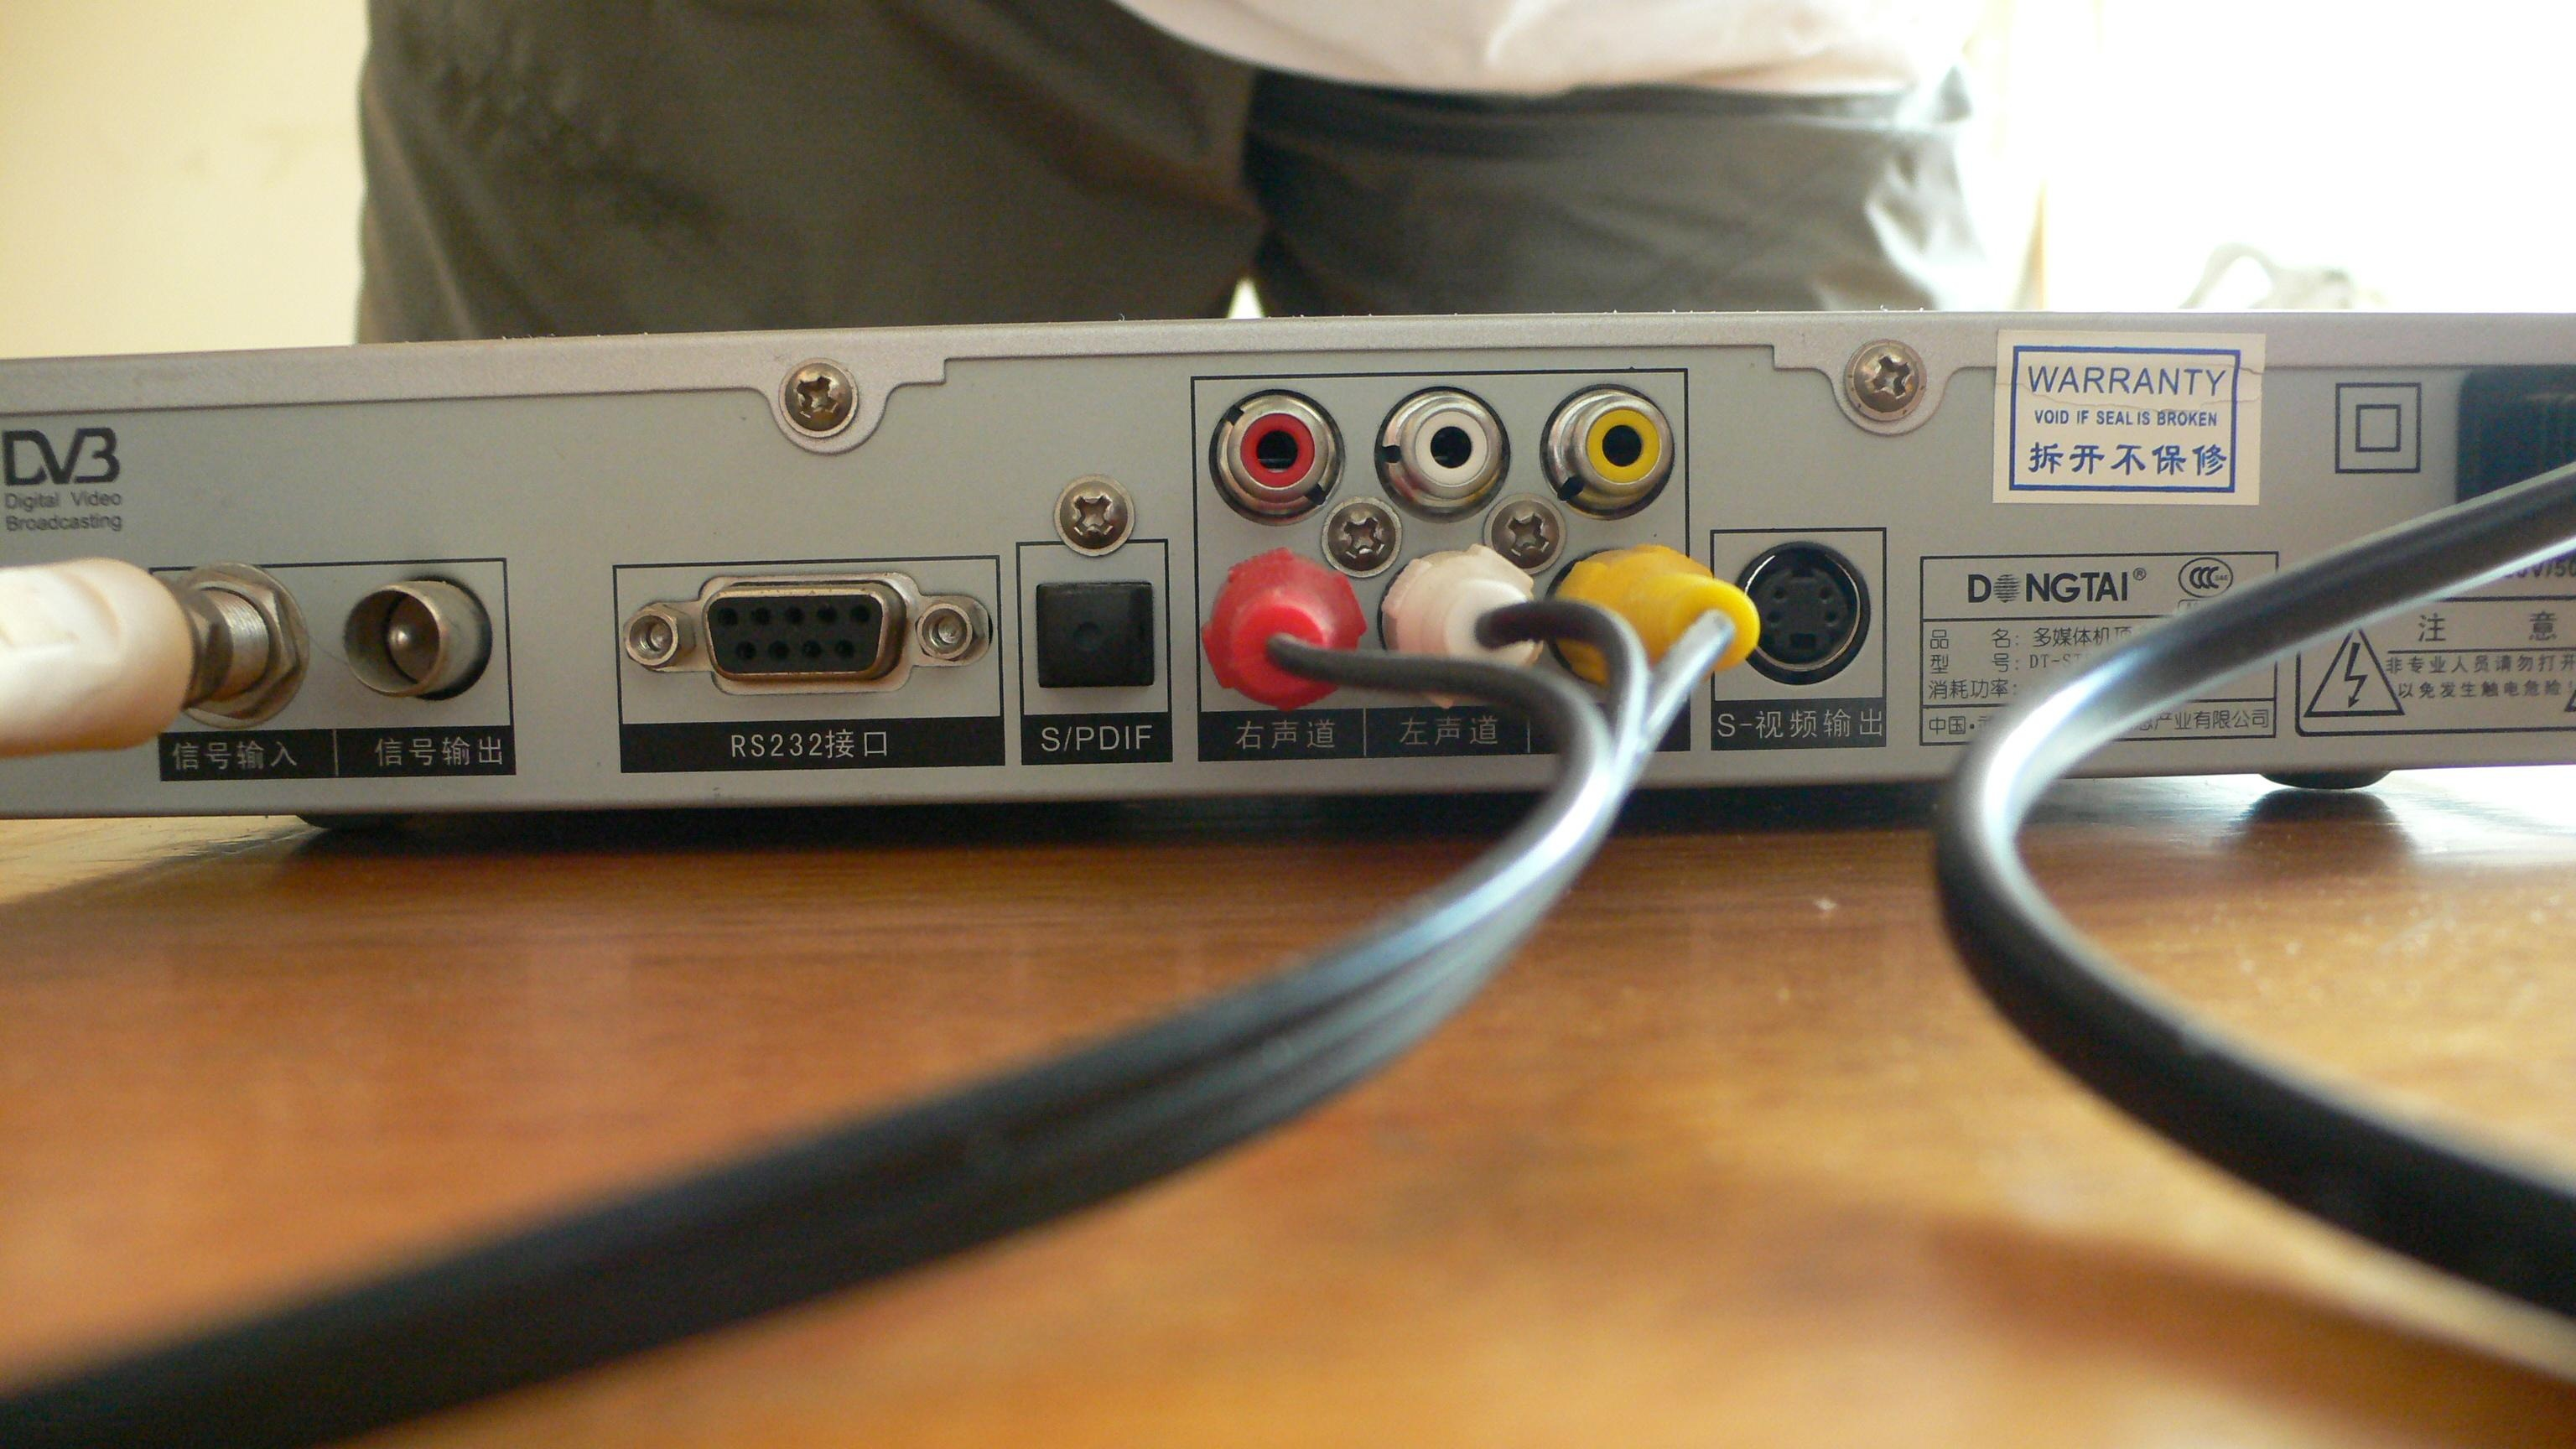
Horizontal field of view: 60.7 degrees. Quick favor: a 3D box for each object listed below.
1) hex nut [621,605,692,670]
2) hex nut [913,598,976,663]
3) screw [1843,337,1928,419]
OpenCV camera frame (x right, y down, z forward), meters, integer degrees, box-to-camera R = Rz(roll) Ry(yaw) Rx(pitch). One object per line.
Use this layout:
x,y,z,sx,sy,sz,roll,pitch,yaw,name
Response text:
-0.352,-0.050,1.222,0.032,0.039,0.032,-11,10,9,hex nut
-0.188,-0.053,1.220,0.033,0.033,0.013,-3,7,2,hex nut
0.332,-0.192,1.222,0.039,0.042,0.010,6,4,-5,screw
